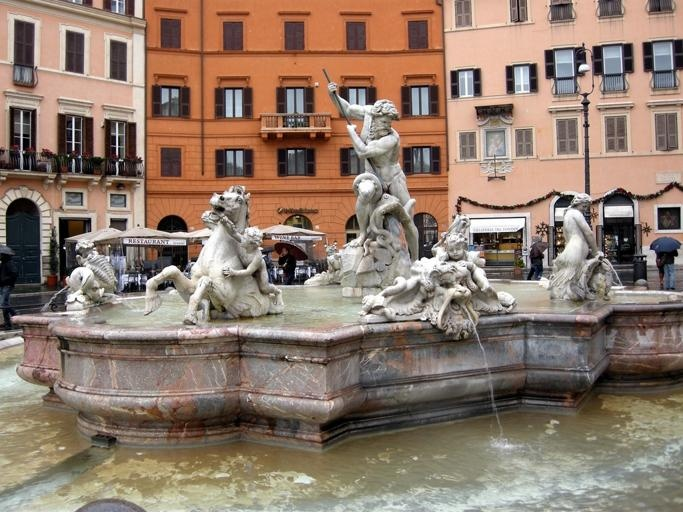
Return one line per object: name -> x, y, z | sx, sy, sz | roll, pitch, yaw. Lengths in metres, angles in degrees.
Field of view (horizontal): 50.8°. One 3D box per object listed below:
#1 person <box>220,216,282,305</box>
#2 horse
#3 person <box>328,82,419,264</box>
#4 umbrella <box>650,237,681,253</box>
person -> -1.049, 0.109, 8.513 | 0.781, 1.105, 0.437 | -4, 12, -33
horse -> -1.425, 0.012, 8.355 | 0.863, 1.556, 1.639 | 6, 10, 40
person -> 0.664, -1.163, 11.270 | 1.052, 2.476, 0.761 | -2, 8, -10
umbrella -> 9.426, -0.295, 20.948 | 0.669, 0.520, 1.220 | 3, 9, 22
